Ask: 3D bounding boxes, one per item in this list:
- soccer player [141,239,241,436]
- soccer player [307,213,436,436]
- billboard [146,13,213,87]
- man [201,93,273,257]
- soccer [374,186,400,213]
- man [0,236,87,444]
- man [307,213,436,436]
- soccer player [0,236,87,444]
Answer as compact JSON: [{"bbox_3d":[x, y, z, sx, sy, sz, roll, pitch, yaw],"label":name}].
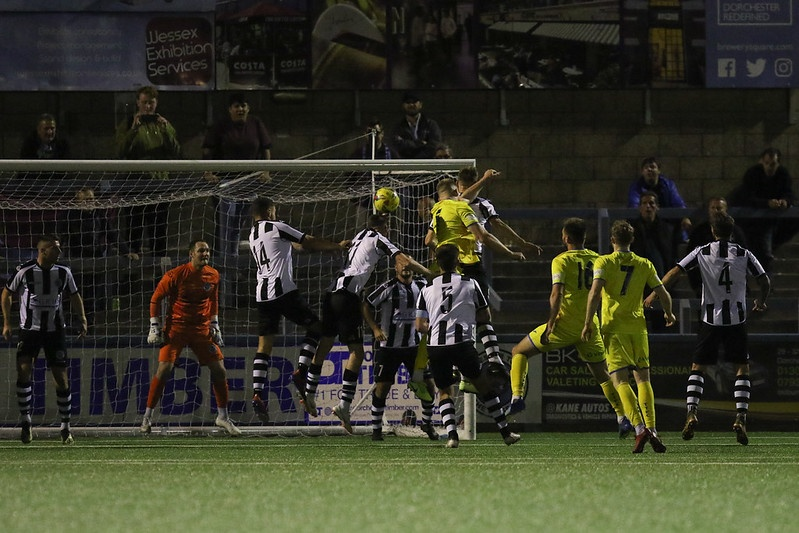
[{"bbox_3d":[-2.901,1.038,20.775,1.236,2.681,0.483,-1,-2,-8],"label":"soccer player"},{"bbox_3d":[-0.569,0.800,20.321,1.426,2.967,0.872,-2,-2,4],"label":"soccer player"},{"bbox_3d":[-3.532,-3.418,24.091,1.414,1.366,0.147,0,2,0],"label":"billboard"},{"bbox_3d":[-2.465,-1.276,22.981,0.944,2.585,0.841,0,8,-7],"label":"man"},{"bbox_3d":[-0.182,-0.892,20.685,0.318,0.332,0.414,-1,-3,-2],"label":"soccer"},{"bbox_3d":[-4.831,1.033,20.422,1.090,2.828,0.481,-1,-3,-13],"label":"man"},{"bbox_3d":[-0.569,0.800,20.321,1.426,2.967,0.872,-2,-2,4],"label":"man"},{"bbox_3d":[-4.826,1.033,20.425,1.077,2.828,0.491,-1,-3,-14],"label":"soccer player"}]
